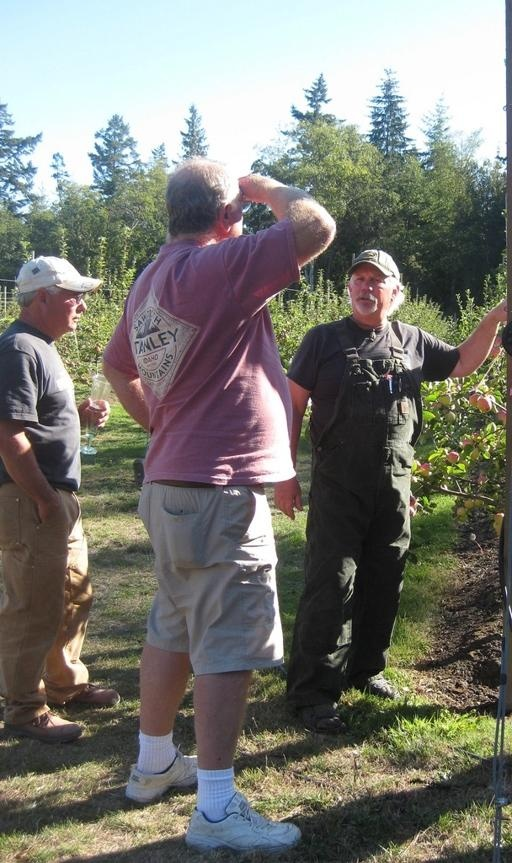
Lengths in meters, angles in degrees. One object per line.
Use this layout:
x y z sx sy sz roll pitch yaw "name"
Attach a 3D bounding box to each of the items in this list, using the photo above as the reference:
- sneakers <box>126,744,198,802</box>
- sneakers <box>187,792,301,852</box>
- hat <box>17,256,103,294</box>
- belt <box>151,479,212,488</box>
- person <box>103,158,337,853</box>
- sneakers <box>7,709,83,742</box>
-0.299 1.155 2.921 0.110 0.135 0.303 6 6 35 "sneakers"
-0.037 1.171 2.548 0.372 0.183 0.142 2 -5 -4 "sneakers"
-0.825 -0.654 3.521 0.290 0.124 0.176 -3 16 -18 "hat"
-0.218 0.157 2.514 0.226 0.022 0.032 1 6 36 "belt"
-0.147 0.186 2.685 0.547 2.091 0.742 -8 7 -39 "person"
-0.839 1.174 3.410 0.303 0.137 0.120 1 1 -2 "sneakers"
